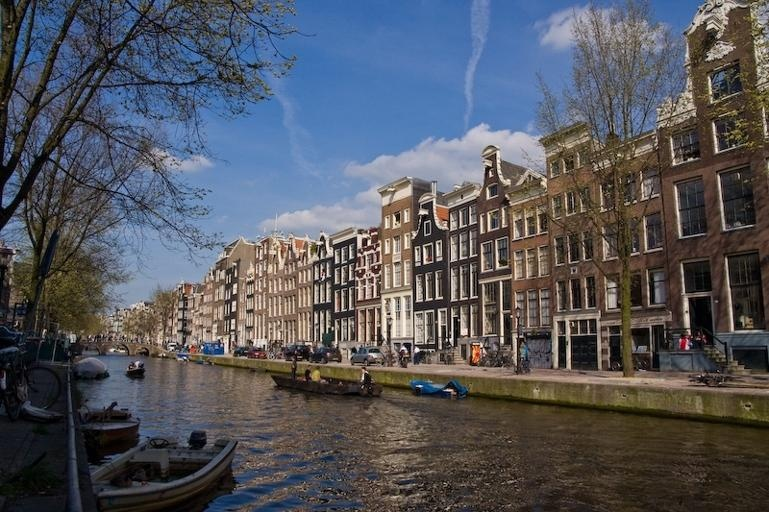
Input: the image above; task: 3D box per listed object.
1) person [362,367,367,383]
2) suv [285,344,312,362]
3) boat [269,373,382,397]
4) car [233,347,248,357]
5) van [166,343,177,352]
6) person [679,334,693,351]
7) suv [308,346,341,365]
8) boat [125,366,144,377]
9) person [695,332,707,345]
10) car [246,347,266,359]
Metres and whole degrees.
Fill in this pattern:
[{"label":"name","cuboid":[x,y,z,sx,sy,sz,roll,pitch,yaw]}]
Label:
[{"label":"person","cuboid":[-1.454,8.043,44.678,0.436,1.056,1.495,0,-15,-5]},{"label":"suv","cuboid":[-10.234,11.311,76.808,1.941,1.401,3.986,3,-6,-24]},{"label":"boat","cuboid":[-4.496,9.179,46.675,1.774,2.048,9.905,13,-21,-43]},{"label":"car","cuboid":[-20.459,13.575,93.118,1.605,1.250,3.554,5,-9,-26]},{"label":"van","cuboid":[-38.931,16.601,120.427,1.900,1.517,2.703,5,-10,-35]},{"label":"person","cuboid":[18.867,5.426,41.629,0.743,1.098,0.644,-15,-20,43]},{"label":"suv","cuboid":[-6.718,10.571,70.441,1.554,1.083,2.823,5,-6,-38]},{"label":"boat","cuboid":[-23.549,10.724,61.764,1.800,1.115,0.699,-8,-16,22]},{"label":"person","cuboid":[19.655,5.124,41.102,0.560,0.874,0.881,0,1,22]},{"label":"car","cuboid":[-16.584,12.519,85.199,1.355,1.031,3.017,6,-17,-31]}]
